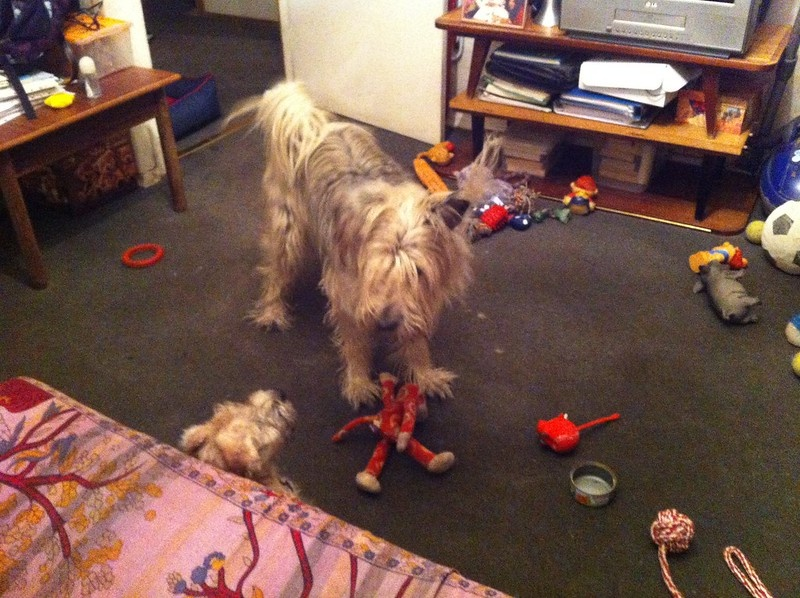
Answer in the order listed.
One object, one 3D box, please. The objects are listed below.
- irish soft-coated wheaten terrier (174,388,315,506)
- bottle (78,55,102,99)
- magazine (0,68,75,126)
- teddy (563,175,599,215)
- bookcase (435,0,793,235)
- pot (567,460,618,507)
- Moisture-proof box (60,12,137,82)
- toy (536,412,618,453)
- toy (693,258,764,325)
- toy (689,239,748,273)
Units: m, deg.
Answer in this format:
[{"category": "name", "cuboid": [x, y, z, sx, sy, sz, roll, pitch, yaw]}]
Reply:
[{"category": "irish soft-coated wheaten terrier", "cuboid": [-0.552, 0.440, 2.062, 0.460, 0.240, 0.345, -7, -7, 3]}, {"category": "bottle", "cuboid": [-1.573, -1.122, 3.198, 0.084, 0.212, 0.090, -8, 1, 0]}, {"category": "magazine", "cuboid": [-1.822, -0.976, 3.053, 0.276, 0.089, 0.275, -29, 41, -29]}, {"category": "teddy", "cuboid": [1.111, -0.629, 3.788, 0.183, 0.116, 0.283, 15, 56, 19]}, {"category": "bookcase", "cuboid": [1.486, -1.082, 4.099, 2.330, 1.246, 1.296, 18, 49, 20]}, {"category": "pot", "cuboid": [0.725, 0.692, 2.344, 0.154, 0.062, 0.151, -5, 36, 4]}, {"category": "Moisture-proof box", "cuboid": [-1.653, -1.352, 3.442, 0.337, 0.244, 0.339, -19, 39, -39]}, {"category": "toy", "cuboid": [0.719, 0.516, 2.526, 0.288, 0.092, 0.126, -17, 23, -28]}, {"category": "toy", "cuboid": [1.597, -0.037, 3.014, 0.220, 0.123, 0.341, -18, 41, 11]}, {"category": "toy", "cuboid": [1.654, -0.223, 3.242, 0.248, 0.127, 0.157, -10, 25, -30]}]
